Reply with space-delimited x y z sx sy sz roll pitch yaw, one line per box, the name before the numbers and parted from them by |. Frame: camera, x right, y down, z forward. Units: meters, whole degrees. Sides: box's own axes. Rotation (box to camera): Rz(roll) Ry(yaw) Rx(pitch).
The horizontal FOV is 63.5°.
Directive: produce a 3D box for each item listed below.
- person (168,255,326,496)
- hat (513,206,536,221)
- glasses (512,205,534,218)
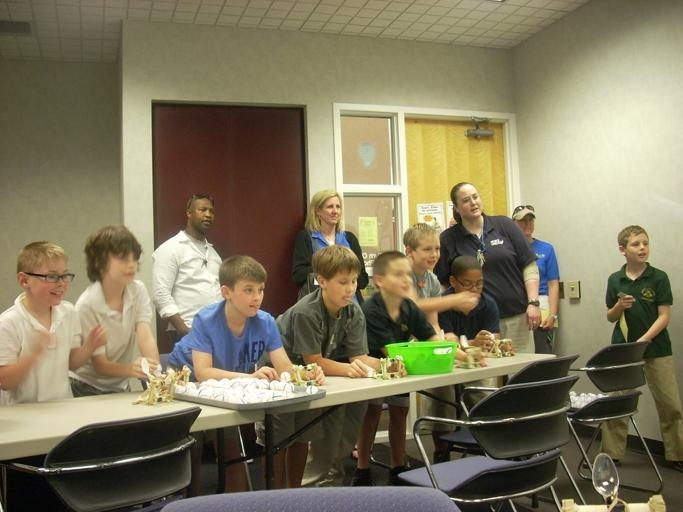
person | -0.533 0.624 2.846 0.498 1.240 0.858 1 -3 -44
hat | 1.738 -0.413 5.314 0.126 0.089 0.187 1 -7 -5
glasses | 1.732 -0.416 5.327 0.114 0.079 0.173 1 -9 -5
